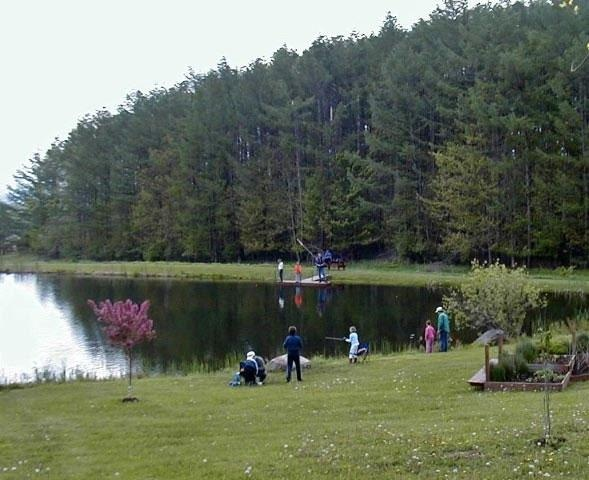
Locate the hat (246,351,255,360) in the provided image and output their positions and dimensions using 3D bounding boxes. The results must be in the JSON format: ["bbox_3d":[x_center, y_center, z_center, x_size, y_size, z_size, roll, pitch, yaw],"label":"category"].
[{"bbox_3d":[-2.651,6.992,55.221,0.437,0.530,0.391,-6,3,1],"label":"hat"}]

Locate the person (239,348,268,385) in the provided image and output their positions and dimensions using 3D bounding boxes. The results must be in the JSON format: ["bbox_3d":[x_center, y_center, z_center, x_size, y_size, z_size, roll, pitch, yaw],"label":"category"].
[{"bbox_3d":[-2.501,7.674,55.618,0.904,1.262,2.275,-1,12,-2],"label":"person"}]
